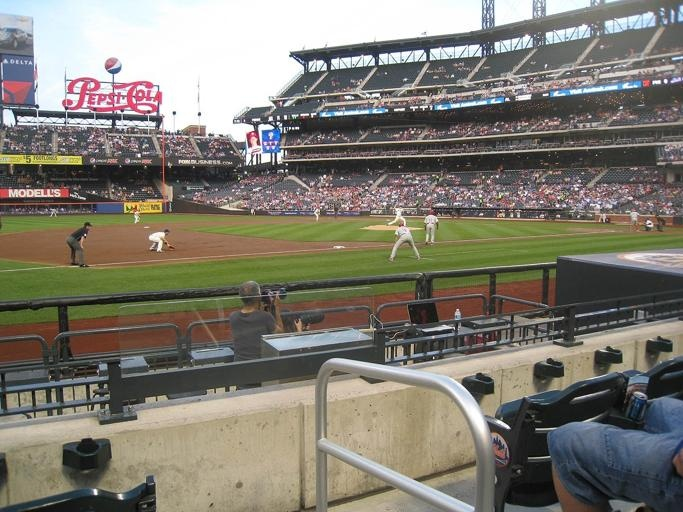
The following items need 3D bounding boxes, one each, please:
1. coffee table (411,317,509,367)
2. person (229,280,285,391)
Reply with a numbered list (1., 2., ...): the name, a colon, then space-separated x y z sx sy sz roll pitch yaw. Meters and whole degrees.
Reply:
1. coffee table: 1.345 0.898 6.999 1.028 0.488 2.053 -3 0 13
2. person: -0.772 0.566 5.464 0.398 0.856 0.311 -3 0 -40
